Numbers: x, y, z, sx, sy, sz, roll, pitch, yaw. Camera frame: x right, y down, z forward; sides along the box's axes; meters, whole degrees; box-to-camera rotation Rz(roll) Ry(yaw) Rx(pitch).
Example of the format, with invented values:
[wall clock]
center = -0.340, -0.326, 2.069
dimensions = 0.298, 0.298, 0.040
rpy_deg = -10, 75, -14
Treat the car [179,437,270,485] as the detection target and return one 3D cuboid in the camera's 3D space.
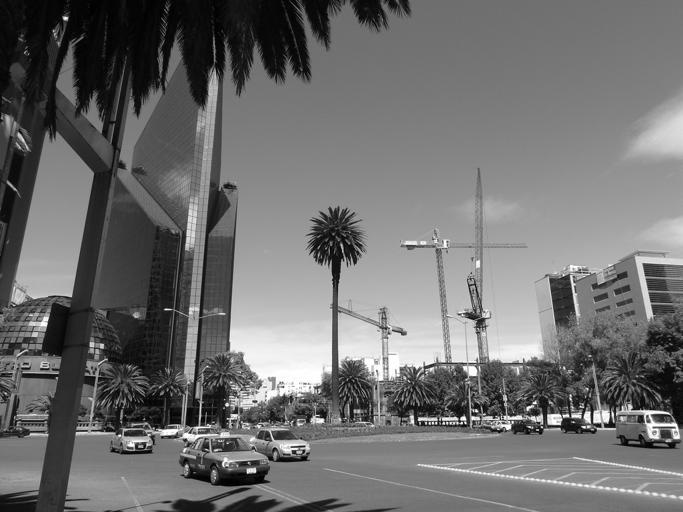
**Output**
[car]
center = -4.338, 7.505, 17.915
dimensions = 1.567, 1.569, 3.839
rpy_deg = 15, -25, -39
